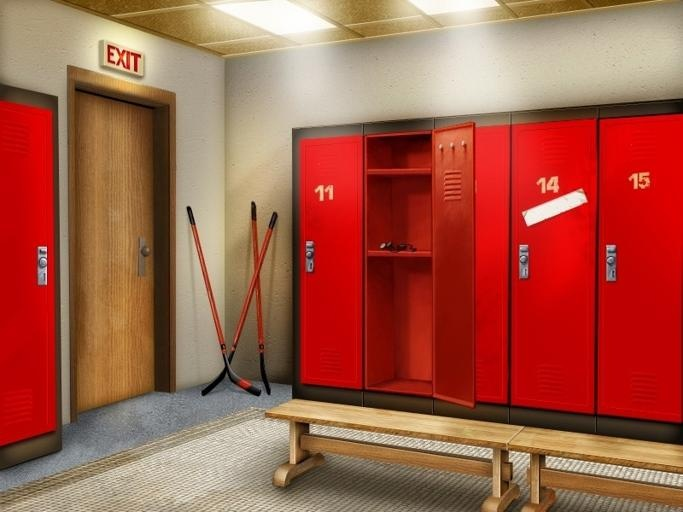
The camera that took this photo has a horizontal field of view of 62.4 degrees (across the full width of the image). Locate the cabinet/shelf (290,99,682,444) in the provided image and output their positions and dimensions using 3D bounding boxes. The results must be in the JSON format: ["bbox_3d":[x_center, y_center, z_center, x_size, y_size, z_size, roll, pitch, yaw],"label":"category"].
[{"bbox_3d":[1.207,0.139,4.477,3.317,2.386,1.053,-1,-2,28],"label":"cabinet/shelf"}]
